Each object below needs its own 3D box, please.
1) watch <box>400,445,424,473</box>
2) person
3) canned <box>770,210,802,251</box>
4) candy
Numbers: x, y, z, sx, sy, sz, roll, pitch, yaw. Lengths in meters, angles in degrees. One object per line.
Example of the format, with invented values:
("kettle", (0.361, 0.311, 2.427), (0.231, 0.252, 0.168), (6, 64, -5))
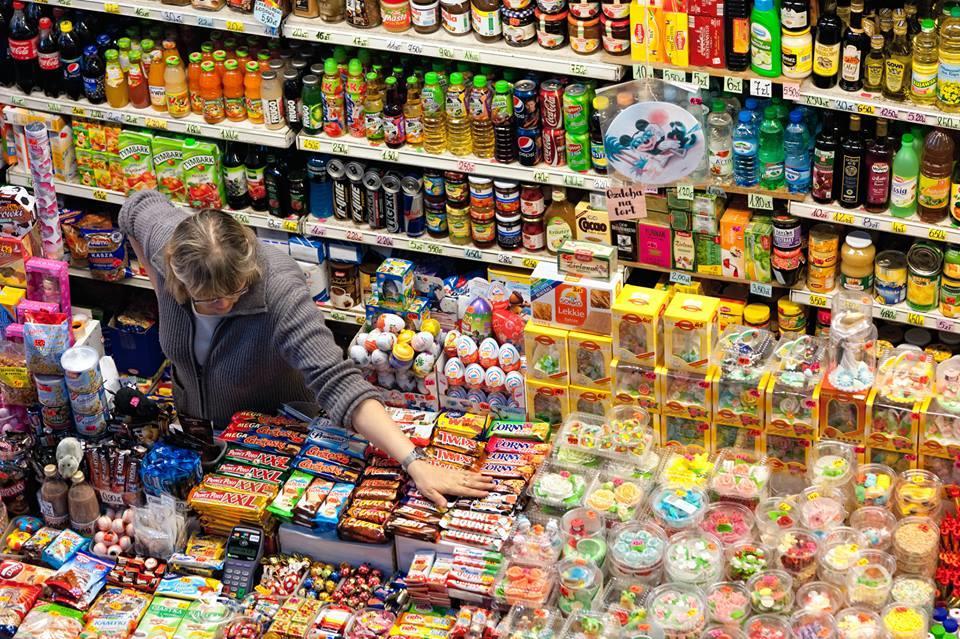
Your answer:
("watch", (-0.345, 0.671, 4.098), (0.064, 0.096, 0.105), (46, 34, 4))
("person", (-1.149, 0.091, 4.315), (2.342, 1.304, 0.916), (16, 19, 25))
("canned", (1.707, -0.493, 4.863), (0.192, 0.202, 0.192), (-7, 36, 4))
("candy", (-0.797, 1.243, 4.046), (0.389, 0.125, 0.261), (12, 38, 8))
